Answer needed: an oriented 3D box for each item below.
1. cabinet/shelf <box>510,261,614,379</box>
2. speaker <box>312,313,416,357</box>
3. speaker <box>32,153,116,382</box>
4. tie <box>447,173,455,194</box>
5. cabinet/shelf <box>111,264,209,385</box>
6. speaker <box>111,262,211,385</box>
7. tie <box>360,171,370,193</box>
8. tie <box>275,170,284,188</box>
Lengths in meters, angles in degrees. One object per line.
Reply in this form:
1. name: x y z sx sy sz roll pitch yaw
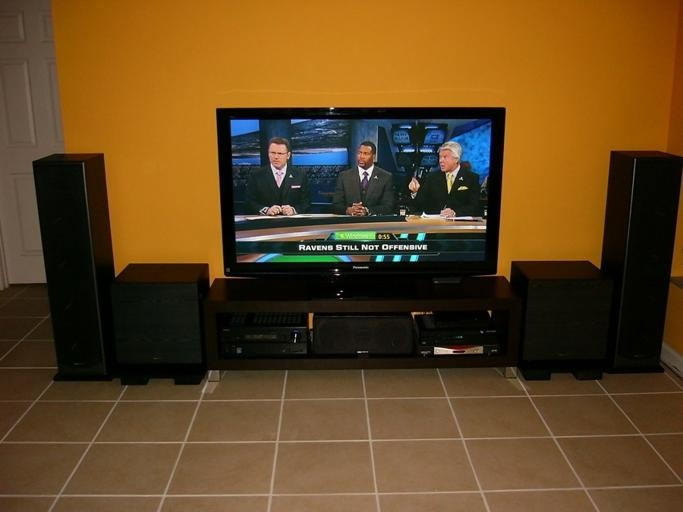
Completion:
1. cabinet/shelf: 1.481 0.465 4.019 0.629 0.604 0.542 1 2 8
2. speaker: 0.141 0.520 3.961 0.522 0.223 0.314 1 9 0
3. speaker: -1.680 0.102 3.765 0.447 1.436 0.353 -7 18 -22
4. tie: 0.702 -0.464 3.761 0.056 0.115 0.012 -4 17 -12
5. cabinet/shelf: -1.174 0.453 3.886 0.594 0.706 0.331 -1 17 -3
6. speaker: -1.161 0.463 3.778 0.650 0.821 0.459 1 18 -3
7. tie: 0.155 -0.470 3.746 0.047 0.122 0.007 0 17 2
8. tie: -0.390 -0.487 3.745 0.068 0.096 0.017 -3 17 -8
